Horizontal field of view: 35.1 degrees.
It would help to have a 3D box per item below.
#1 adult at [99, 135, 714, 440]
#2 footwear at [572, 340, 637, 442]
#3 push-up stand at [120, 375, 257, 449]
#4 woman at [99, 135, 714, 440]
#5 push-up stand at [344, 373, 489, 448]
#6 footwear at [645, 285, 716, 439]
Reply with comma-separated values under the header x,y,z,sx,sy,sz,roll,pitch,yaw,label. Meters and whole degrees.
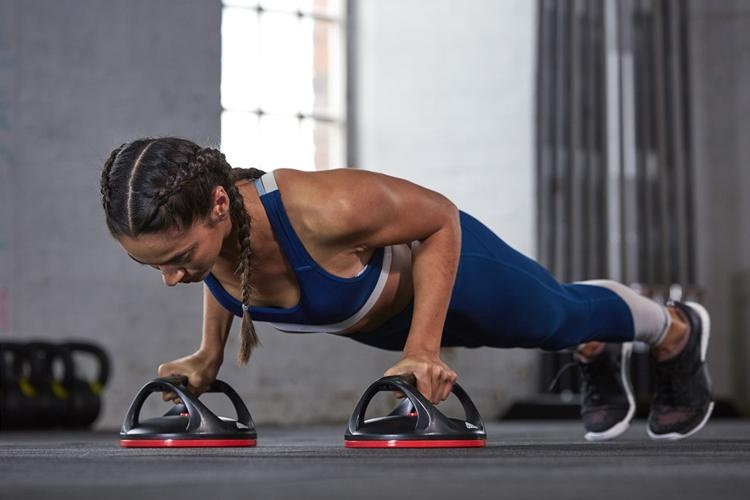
x,y,z,sx,sy,sz,roll,pitch,yaw,label
0.172,0.191,4.794,2.248,0.975,1.251,14,-23,-37,adult
1.006,0.638,5.213,0.219,0.523,0.173,14,-17,-30,footwear
-0.766,0.684,4.891,0.561,0.319,0.582,-6,-13,20,push-up stand
0.168,0.134,4.803,2.248,0.975,1.251,14,-23,-37,woman
0.157,0.619,4.630,0.548,0.323,0.303,-2,8,-1,push-up stand
1.312,0.488,5.126,0.236,0.616,0.260,0,-4,38,footwear
